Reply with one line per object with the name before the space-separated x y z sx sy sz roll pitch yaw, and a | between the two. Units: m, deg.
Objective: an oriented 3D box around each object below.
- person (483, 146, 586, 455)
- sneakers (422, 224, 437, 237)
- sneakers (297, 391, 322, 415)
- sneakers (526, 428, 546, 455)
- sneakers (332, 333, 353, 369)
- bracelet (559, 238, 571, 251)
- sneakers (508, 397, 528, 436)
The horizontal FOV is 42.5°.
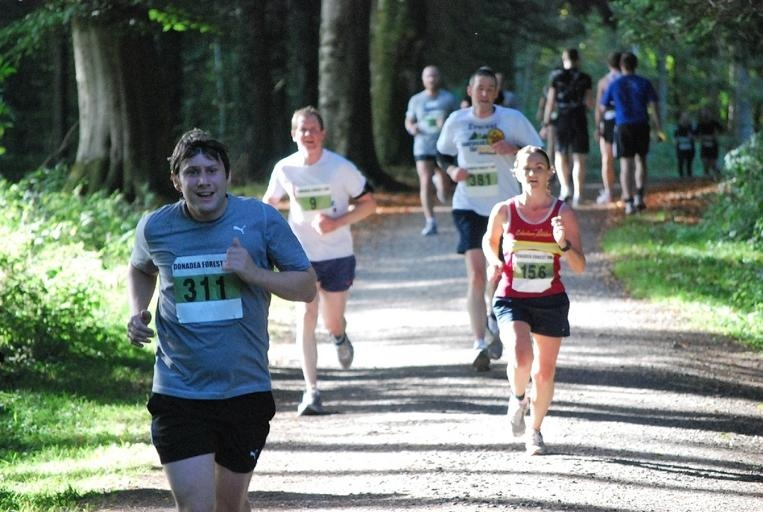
person | 1.386 0.410 9.346 0.748 2.854 0.888 -9 14 -31
sneakers | 0.842 -0.451 16.924 0.319 0.128 0.247 3 -7 11
sneakers | -0.799 1.599 10.529 0.238 0.272 0.226 -7 -18 14
sneakers | 1.451 1.772 9.293 0.136 0.258 0.246 0 -2 1
sneakers | -0.427 1.093 11.155 0.140 0.477 0.197 -10 26 4
bracelet | 1.670 -0.106 8.950 0.072 0.104 0.054 17 -7 37
sneakers | 1.294 1.502 9.394 0.132 0.443 0.179 1 12 11
